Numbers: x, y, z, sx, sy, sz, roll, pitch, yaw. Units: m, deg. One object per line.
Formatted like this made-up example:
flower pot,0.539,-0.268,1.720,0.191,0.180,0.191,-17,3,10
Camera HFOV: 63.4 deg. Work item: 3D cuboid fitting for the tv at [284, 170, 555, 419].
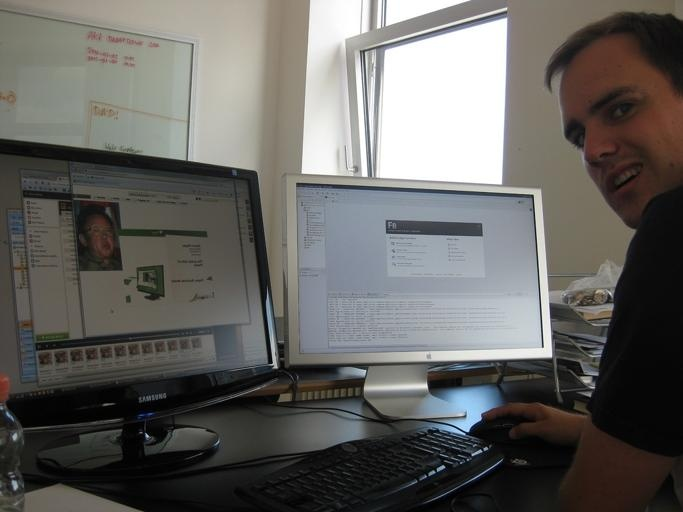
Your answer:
tv,0.176,0.103,1.368,0.596,0.511,0.196,1,-8,-16
